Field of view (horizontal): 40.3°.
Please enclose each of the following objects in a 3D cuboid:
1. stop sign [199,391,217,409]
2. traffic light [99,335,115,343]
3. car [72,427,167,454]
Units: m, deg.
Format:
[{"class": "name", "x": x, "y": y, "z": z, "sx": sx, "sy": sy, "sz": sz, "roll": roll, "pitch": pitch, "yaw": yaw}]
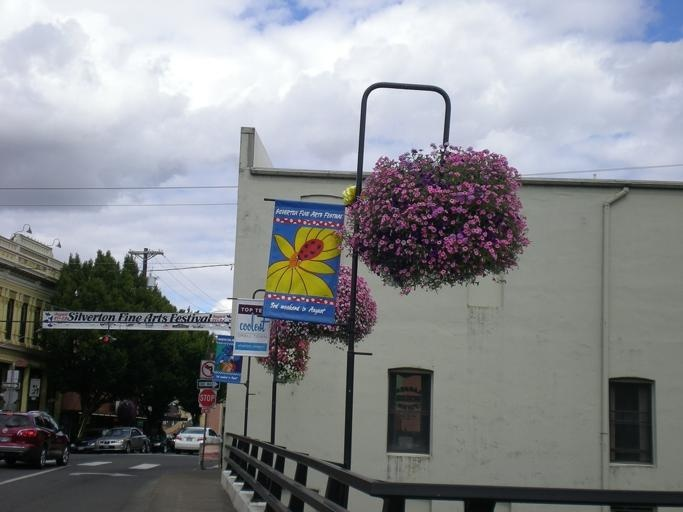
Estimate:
[{"class": "stop sign", "x": -5.325, "y": 5.496, "z": 37.126, "sx": 0.603, "sy": 0.773, "sz": 1.285, "roll": 4, "pitch": -13, "yaw": -10}, {"class": "traffic light", "x": -13.322, "y": 4.568, "z": 53.049, "sx": 0.731, "sy": 0.335, "sz": 0.790, "roll": 0, "pitch": -6, "yaw": 8}, {"class": "car", "x": -12.956, "y": 10.179, "z": 52.998, "sx": 2.781, "sy": 1.550, "sz": 5.358, "roll": -1, "pitch": -13, "yaw": 11}]
